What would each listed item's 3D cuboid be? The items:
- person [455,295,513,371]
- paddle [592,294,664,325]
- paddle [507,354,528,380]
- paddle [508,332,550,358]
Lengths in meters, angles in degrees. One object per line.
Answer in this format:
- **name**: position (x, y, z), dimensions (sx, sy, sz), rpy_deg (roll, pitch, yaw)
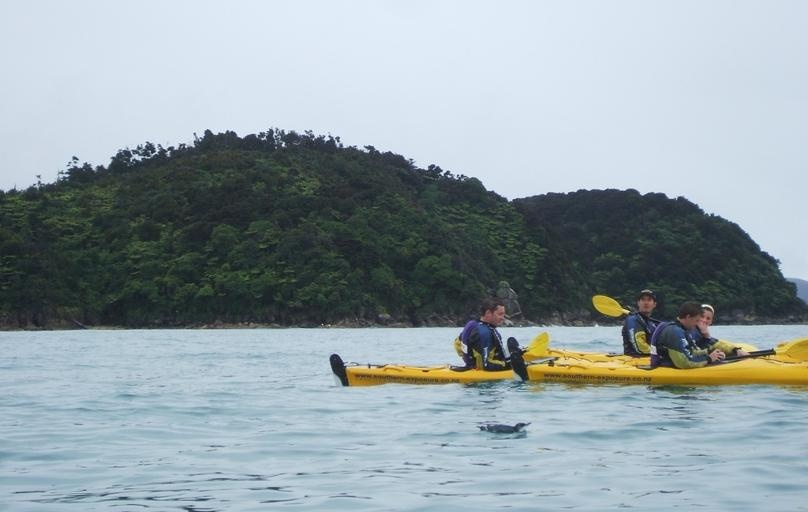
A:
- **person**: position (1.998, 1.846, 22.791), dimensions (1.187, 1.719, 0.531), rpy_deg (0, 15, 6)
- **paddle**: position (6.294, 1.444, 26.172), dimensions (0.457, 0.916, 3.338), rpy_deg (0, -5, 44)
- **paddle**: position (2.810, 2.640, 22.846), dimensions (0.476, 0.601, 0.239), rpy_deg (-25, 4, -38)
- **paddle**: position (3.204, 2.211, 23.771), dimensions (0.867, 0.690, 0.636), rpy_deg (-5, -9, 6)
